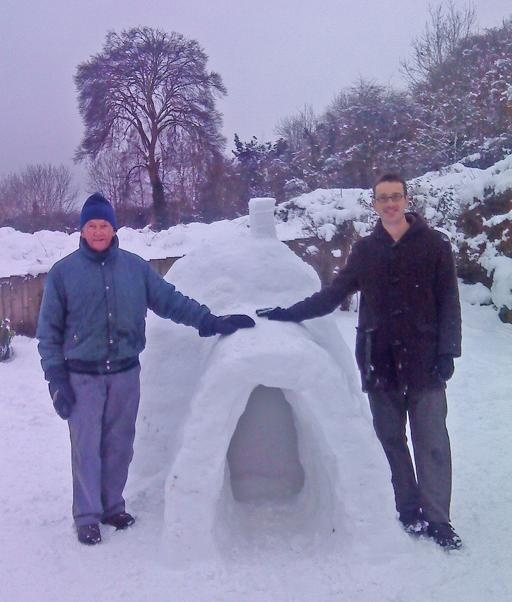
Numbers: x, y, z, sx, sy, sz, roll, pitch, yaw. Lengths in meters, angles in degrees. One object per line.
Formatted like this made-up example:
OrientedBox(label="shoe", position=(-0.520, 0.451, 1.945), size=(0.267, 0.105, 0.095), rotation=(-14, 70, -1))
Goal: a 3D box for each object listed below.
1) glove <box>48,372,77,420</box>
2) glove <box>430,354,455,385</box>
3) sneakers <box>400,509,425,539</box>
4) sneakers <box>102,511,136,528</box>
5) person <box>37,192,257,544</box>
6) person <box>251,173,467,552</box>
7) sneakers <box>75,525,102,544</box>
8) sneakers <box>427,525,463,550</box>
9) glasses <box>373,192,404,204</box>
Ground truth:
OrientedBox(label="glove", position=(-0.958, 0.465, 3.011), size=(0.135, 0.224, 0.064), rotation=(-13, 6, -38))
OrientedBox(label="glove", position=(0.934, 0.340, 3.030), size=(0.097, 0.161, 0.142), rotation=(1, 6, 21))
OrientedBox(label="sneakers", position=(0.791, 1.117, 3.052), size=(0.107, 0.083, 0.132), rotation=(-2, 6, -6))
OrientedBox(label="sneakers", position=(-0.722, 1.132, 3.183), size=(0.169, 0.097, 0.069), rotation=(-7, 1, 25))
OrientedBox(label="person", position=(-0.746, 0.302, 3.231), size=(0.781, 1.743, 0.347), rotation=(-6, 7, -44))
OrientedBox(label="person", position=(0.612, 0.263, 3.292), size=(0.894, 1.927, 0.529), rotation=(0, 21, 22))
OrientedBox(label="sneakers", position=(-0.852, 1.167, 3.040), size=(0.151, 0.077, 0.091), rotation=(0, 6, 12))
OrientedBox(label="sneakers", position=(0.915, 1.132, 2.945), size=(0.077, 0.064, 0.146), rotation=(-10, 25, -12))
OrientedBox(label="glasses", position=(0.674, -0.516, 3.071), size=(0.135, 0.052, 0.043), rotation=(0, 6, 14))
